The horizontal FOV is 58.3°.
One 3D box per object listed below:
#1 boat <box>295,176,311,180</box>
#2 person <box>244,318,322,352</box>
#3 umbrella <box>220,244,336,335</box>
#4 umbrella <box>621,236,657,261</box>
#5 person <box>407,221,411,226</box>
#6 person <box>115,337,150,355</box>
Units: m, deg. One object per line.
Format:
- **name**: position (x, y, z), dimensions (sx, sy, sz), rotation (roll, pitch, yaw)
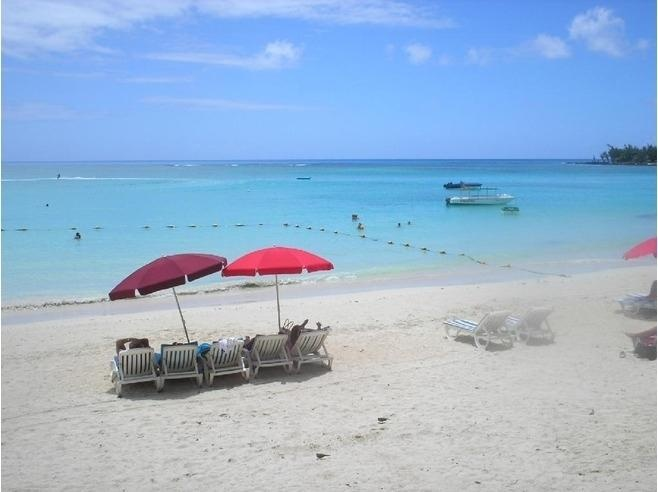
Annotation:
- **boat**: position (-5.502, -14.962, 130.111), dimensions (2.734, 0.380, 24.123), rotation (0, 8, -2)
- **person**: position (-1.196, 2.067, 13.306), dimensions (0.836, 0.763, 1.414), rotation (0, 2, -35)
- **umbrella**: position (-1.046, 0.849, 13.874), dimensions (2.326, 2.214, 2.300), rotation (-7, -4, 15)
- **umbrella**: position (7.941, 0.072, 15.003), dimensions (0.791, 0.572, 0.733), rotation (-6, 11, -39)
- **person**: position (6.403, -1.845, 47.592), dimensions (0.443, 0.367, 0.998), rotation (-2, 6, 8)
- **person**: position (-4.242, 2.098, 12.702), dimensions (0.598, 0.352, 0.769), rotation (-1, 0, -21)
